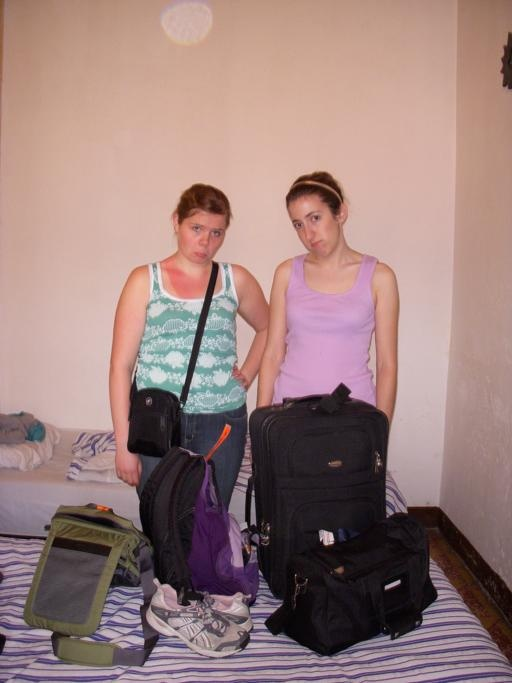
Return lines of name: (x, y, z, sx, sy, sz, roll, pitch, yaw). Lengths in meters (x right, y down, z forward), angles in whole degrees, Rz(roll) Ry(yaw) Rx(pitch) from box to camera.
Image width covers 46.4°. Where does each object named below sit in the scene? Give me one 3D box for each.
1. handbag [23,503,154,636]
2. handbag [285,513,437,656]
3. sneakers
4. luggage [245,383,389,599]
handbag: (-0.488, 0.667, 1.748, 0.254, 0.322, 0.127, 15, -23, 14)
handbag: (0.290, 0.671, 1.611, 0.457, 0.235, 0.243, -13, 20, -34)
sneakers: (-0.145, 0.722, 1.609, 0.187, 0.079, 0.155, 20, -7, 16)
luggage: (0.186, 0.477, 1.915, 0.454, 0.614, 0.326, -5, 6, -20)
